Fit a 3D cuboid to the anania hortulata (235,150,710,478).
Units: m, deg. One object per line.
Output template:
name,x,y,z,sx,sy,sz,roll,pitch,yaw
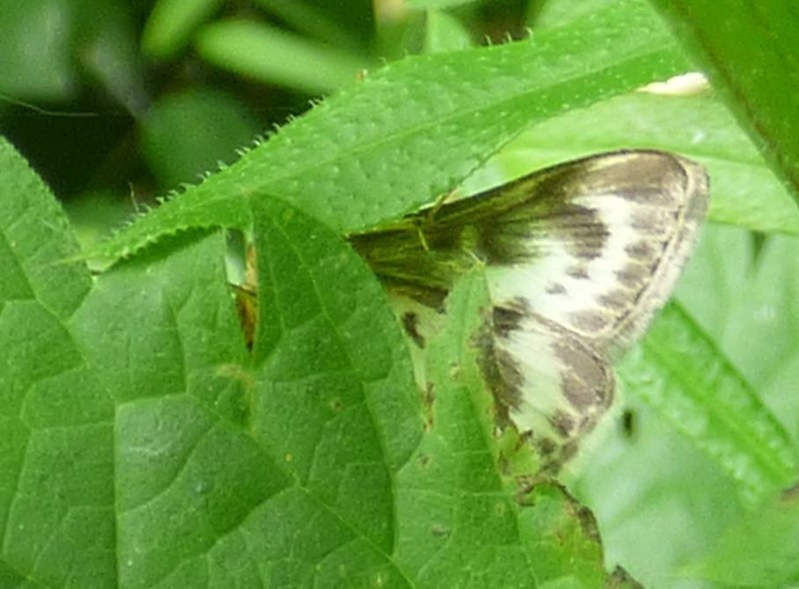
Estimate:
anania hortulata,0.096,-0.012,0.889,0.267,0.276,0.135,-4,-17,-12
